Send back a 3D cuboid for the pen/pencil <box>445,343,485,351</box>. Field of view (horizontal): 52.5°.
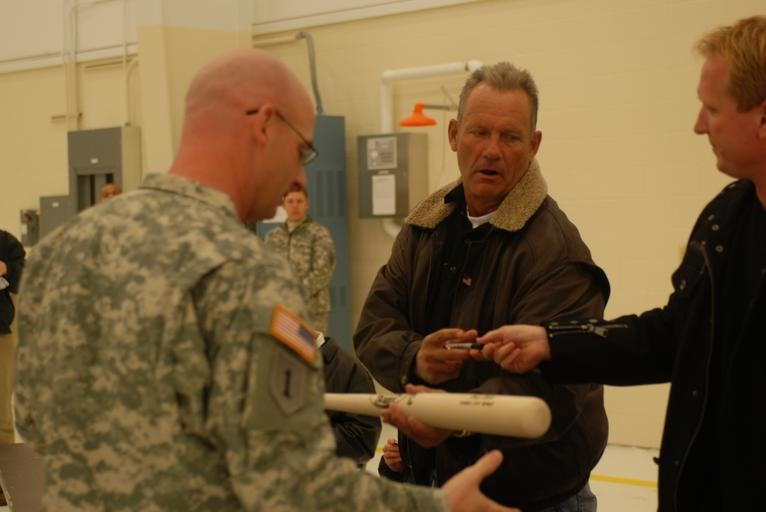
[{"bbox_3d":[0.321,0.347,2.980,0.027,0.022,0.145,34,-19,-35],"label":"pen/pencil"}]

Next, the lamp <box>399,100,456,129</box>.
[{"bbox_3d":[0.394,-1.307,7.072,0.228,0.189,0.538,2,2,44],"label":"lamp"}]

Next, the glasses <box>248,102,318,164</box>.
[{"bbox_3d":[-0.315,-0.393,2.503,0.045,0.163,0.156,-40,1,-22],"label":"glasses"}]
